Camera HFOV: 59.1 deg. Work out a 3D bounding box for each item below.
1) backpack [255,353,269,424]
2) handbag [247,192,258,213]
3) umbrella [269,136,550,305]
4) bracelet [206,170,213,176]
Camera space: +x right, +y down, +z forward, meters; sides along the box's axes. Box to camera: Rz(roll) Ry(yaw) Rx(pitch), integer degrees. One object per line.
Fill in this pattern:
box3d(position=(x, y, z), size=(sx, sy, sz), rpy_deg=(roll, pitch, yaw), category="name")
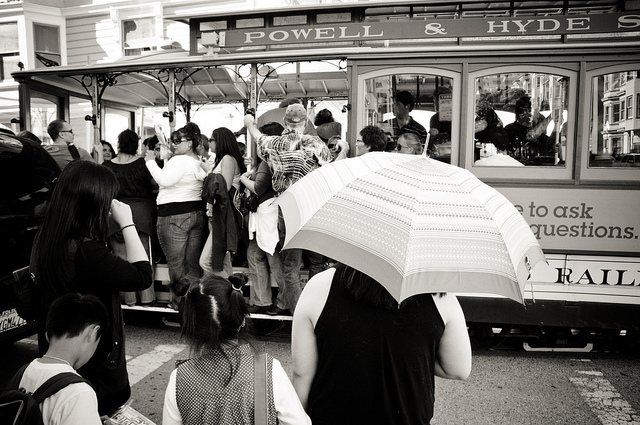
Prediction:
box3d(position=(-0.441, 1.325, 4.245), size=(0.103, 0.447, 0.240), rpy_deg=(-1, 14, -7), category="backpack")
box3d(position=(-0.857, -0.126, 7.185), size=(0.180, 0.339, 0.175), rpy_deg=(1, 10, 2), category="handbag")
box3d(position=(0.664, 0.100, 4.161), size=(1.838, 0.979, 0.734), rpy_deg=(-2, 15, -9), category="umbrella")
box3d(position=(-1.459, -0.525, 7.471), size=(0.084, 0.033, 0.087), rpy_deg=(-13, 0, 2), category="bracelet")
